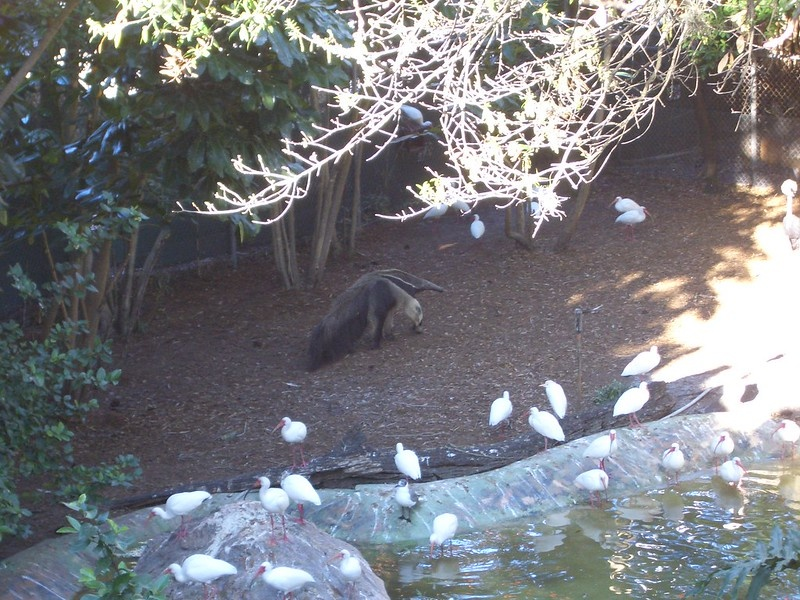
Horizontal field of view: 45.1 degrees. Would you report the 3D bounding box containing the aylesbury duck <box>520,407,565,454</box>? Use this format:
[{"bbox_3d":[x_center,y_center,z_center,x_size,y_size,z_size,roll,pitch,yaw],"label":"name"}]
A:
[{"bbox_3d":[1.562,1.356,10.278,0.469,0.436,0.261,15,32,29],"label":"aylesbury duck"}]

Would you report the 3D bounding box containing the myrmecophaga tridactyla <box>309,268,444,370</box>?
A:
[{"bbox_3d":[-0.766,0.241,14.320,1.889,1.289,1.828,-3,14,-32],"label":"myrmecophaga tridactyla"}]

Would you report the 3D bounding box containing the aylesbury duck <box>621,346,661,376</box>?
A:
[{"bbox_3d":[2.971,0.730,11.475,0.691,0.374,0.311,1,2,-29],"label":"aylesbury duck"}]

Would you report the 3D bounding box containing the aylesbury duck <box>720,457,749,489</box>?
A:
[{"bbox_3d":[3.407,1.747,9.832,0.248,0.279,0.331,-4,-5,-19],"label":"aylesbury duck"}]

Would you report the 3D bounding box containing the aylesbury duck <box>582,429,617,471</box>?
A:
[{"bbox_3d":[2.044,1.518,9.826,0.396,0.388,0.202,-7,16,6],"label":"aylesbury duck"}]

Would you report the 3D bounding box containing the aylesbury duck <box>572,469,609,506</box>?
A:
[{"bbox_3d":[1.897,1.820,9.619,0.255,0.325,0.451,-10,17,-19],"label":"aylesbury duck"}]

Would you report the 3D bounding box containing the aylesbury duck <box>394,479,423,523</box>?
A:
[{"bbox_3d":[0.078,1.909,9.473,0.232,0.387,0.344,9,19,25],"label":"aylesbury duck"}]

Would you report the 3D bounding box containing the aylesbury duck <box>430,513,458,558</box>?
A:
[{"bbox_3d":[0.399,2.150,8.982,0.224,0.264,0.447,4,33,19],"label":"aylesbury duck"}]

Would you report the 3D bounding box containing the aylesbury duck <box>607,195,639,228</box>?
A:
[{"bbox_3d":[3.915,-1.616,16.976,0.650,0.398,0.348,4,16,32],"label":"aylesbury duck"}]

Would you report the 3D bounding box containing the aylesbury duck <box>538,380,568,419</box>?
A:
[{"bbox_3d":[1.773,1.047,10.833,0.196,0.233,0.574,-4,30,-4],"label":"aylesbury duck"}]

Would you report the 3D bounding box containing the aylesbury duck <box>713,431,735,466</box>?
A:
[{"bbox_3d":[3.491,1.542,10.152,0.256,0.287,0.440,-2,-19,7],"label":"aylesbury duck"}]

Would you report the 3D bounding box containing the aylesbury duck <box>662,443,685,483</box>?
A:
[{"bbox_3d":[2.839,1.655,9.952,0.253,0.422,0.438,-1,10,10],"label":"aylesbury duck"}]
